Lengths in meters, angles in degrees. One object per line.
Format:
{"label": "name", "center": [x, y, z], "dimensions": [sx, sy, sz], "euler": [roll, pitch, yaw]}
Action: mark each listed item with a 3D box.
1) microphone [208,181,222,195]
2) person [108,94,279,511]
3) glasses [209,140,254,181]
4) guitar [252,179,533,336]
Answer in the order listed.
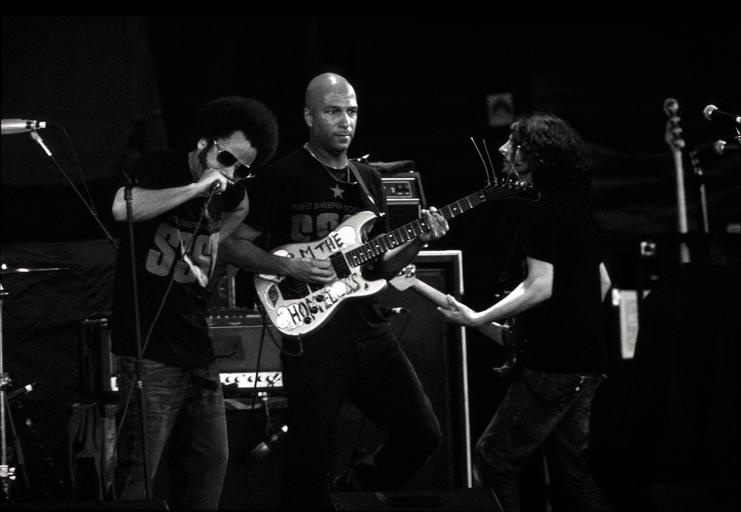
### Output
{"label": "microphone", "center": [-0.750, -0.331, 3.772], "dimensions": [0.046, 0.059, 0.069], "euler": [-10, 11, -28]}
{"label": "person", "center": [-0.886, 0.247, 3.851], "dimensions": [1.011, 2.017, 0.493], "euler": [-11, 11, -32]}
{"label": "glasses", "center": [-0.680, -0.476, 3.902], "dimensions": [0.063, 0.209, 0.211], "euler": [-48, 28, -7]}
{"label": "guitar", "center": [0.153, -0.031, 4.221], "dimensions": [1.899, 0.575, 0.196], "euler": [-23, 0, -11]}
